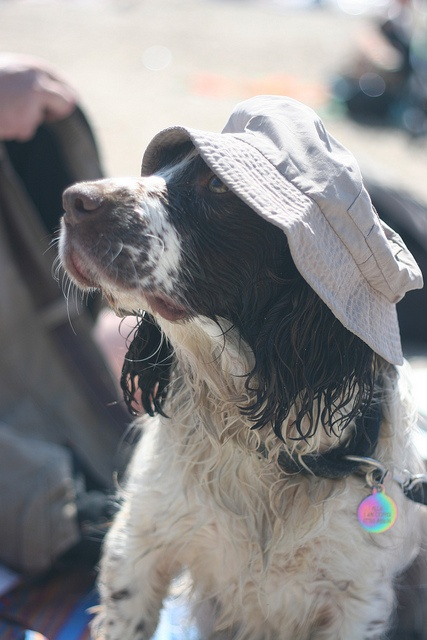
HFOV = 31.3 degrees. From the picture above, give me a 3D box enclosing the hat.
[{"bbox_3d":[0.260,-0.239,1.910,0.407,0.461,0.703,-36,59,-24],"label":"hat"}]
